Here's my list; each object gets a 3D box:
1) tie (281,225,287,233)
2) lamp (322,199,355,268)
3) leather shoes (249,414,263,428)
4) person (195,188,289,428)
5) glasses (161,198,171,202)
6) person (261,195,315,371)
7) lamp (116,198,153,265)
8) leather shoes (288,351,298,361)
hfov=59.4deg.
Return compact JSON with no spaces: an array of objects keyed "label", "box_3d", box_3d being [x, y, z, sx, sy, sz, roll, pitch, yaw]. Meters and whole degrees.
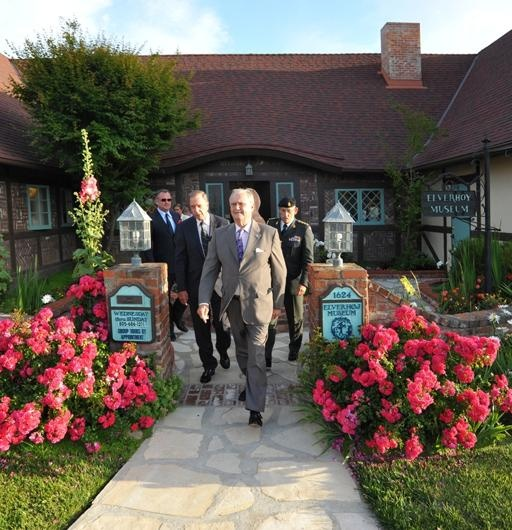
[{"label":"tie","box_3d":[0.340,-0.453,5.642,0.065,0.079,0.021,-3,-11,22]},{"label":"lamp","box_3d":[0.820,-0.313,4.532,0.277,0.641,0.499,0,6,8]},{"label":"leather shoes","box_3d":[-0.012,1.340,3.865,0.110,0.125,0.066,-1,7,-5]},{"label":"person","box_3d":[-0.167,0.341,4.189,0.810,2.056,0.894,1,7,11]},{"label":"glasses","box_3d":[-1.245,-0.896,6.267,0.067,0.037,0.158,3,7,29]},{"label":"person","box_3d":[0.345,0.225,5.704,0.851,2.099,0.741,0,15,8]},{"label":"lamp","box_3d":[-1.218,-0.358,4.514,0.304,0.549,0.263,-2,7,-15]},{"label":"leather shoes","box_3d":[0.467,1.144,5.637,0.130,0.112,0.125,-4,7,9]}]
